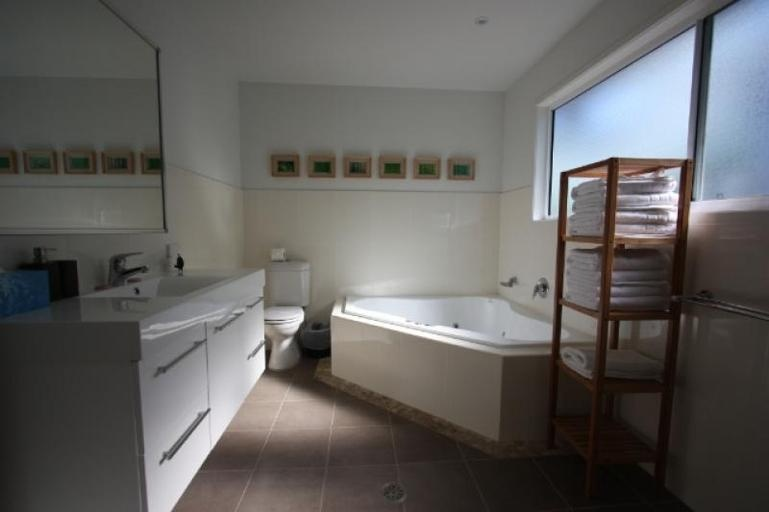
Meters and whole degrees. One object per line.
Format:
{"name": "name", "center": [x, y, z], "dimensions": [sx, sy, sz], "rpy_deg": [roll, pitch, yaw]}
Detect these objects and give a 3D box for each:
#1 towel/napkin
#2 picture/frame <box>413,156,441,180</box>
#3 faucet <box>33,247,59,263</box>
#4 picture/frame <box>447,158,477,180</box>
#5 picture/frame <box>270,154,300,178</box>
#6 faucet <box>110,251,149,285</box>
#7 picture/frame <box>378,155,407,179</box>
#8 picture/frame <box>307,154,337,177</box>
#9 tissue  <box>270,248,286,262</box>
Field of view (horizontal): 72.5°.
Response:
{"name": "towel/napkin", "center": [1.402, 0.116, 3.164], "dimensions": [0.613, 1.227, 0.393], "rpy_deg": [2, 7, 26]}
{"name": "picture/frame", "center": [0.380, -0.832, 4.855], "dimensions": [0.223, 0.184, 0.024], "rpy_deg": [0, 8, -4]}
{"name": "faucet", "center": [-1.800, -0.013, 2.790], "dimensions": [0.042, 0.078, 0.115], "rpy_deg": [4, 8, 36]}
{"name": "picture/frame", "center": [0.708, -0.819, 4.870], "dimensions": [0.208, 0.172, 0.016], "rpy_deg": [0, 7, -4]}
{"name": "picture/frame", "center": [-0.914, -0.833, 4.776], "dimensions": [0.214, 0.182, 0.028], "rpy_deg": [0, 6, -5]}
{"name": "faucet", "center": [-1.534, 0.069, 3.204], "dimensions": [0.136, 0.185, 0.314], "rpy_deg": [0, 6, 11]}
{"name": "picture/frame", "center": [0.073, -0.804, 4.747], "dimensions": [0.230, 0.207, 0.088], "rpy_deg": [-1, 12, -4]}
{"name": "picture/frame", "center": [-0.575, -0.827, 4.798], "dimensions": [0.261, 0.206, 0.038], "rpy_deg": [-2, 7, -11]}
{"name": "tissue ", "center": [-0.951, -0.008, 4.783], "dimensions": [0.185, 0.183, 0.101], "rpy_deg": [0, 1, -7]}
